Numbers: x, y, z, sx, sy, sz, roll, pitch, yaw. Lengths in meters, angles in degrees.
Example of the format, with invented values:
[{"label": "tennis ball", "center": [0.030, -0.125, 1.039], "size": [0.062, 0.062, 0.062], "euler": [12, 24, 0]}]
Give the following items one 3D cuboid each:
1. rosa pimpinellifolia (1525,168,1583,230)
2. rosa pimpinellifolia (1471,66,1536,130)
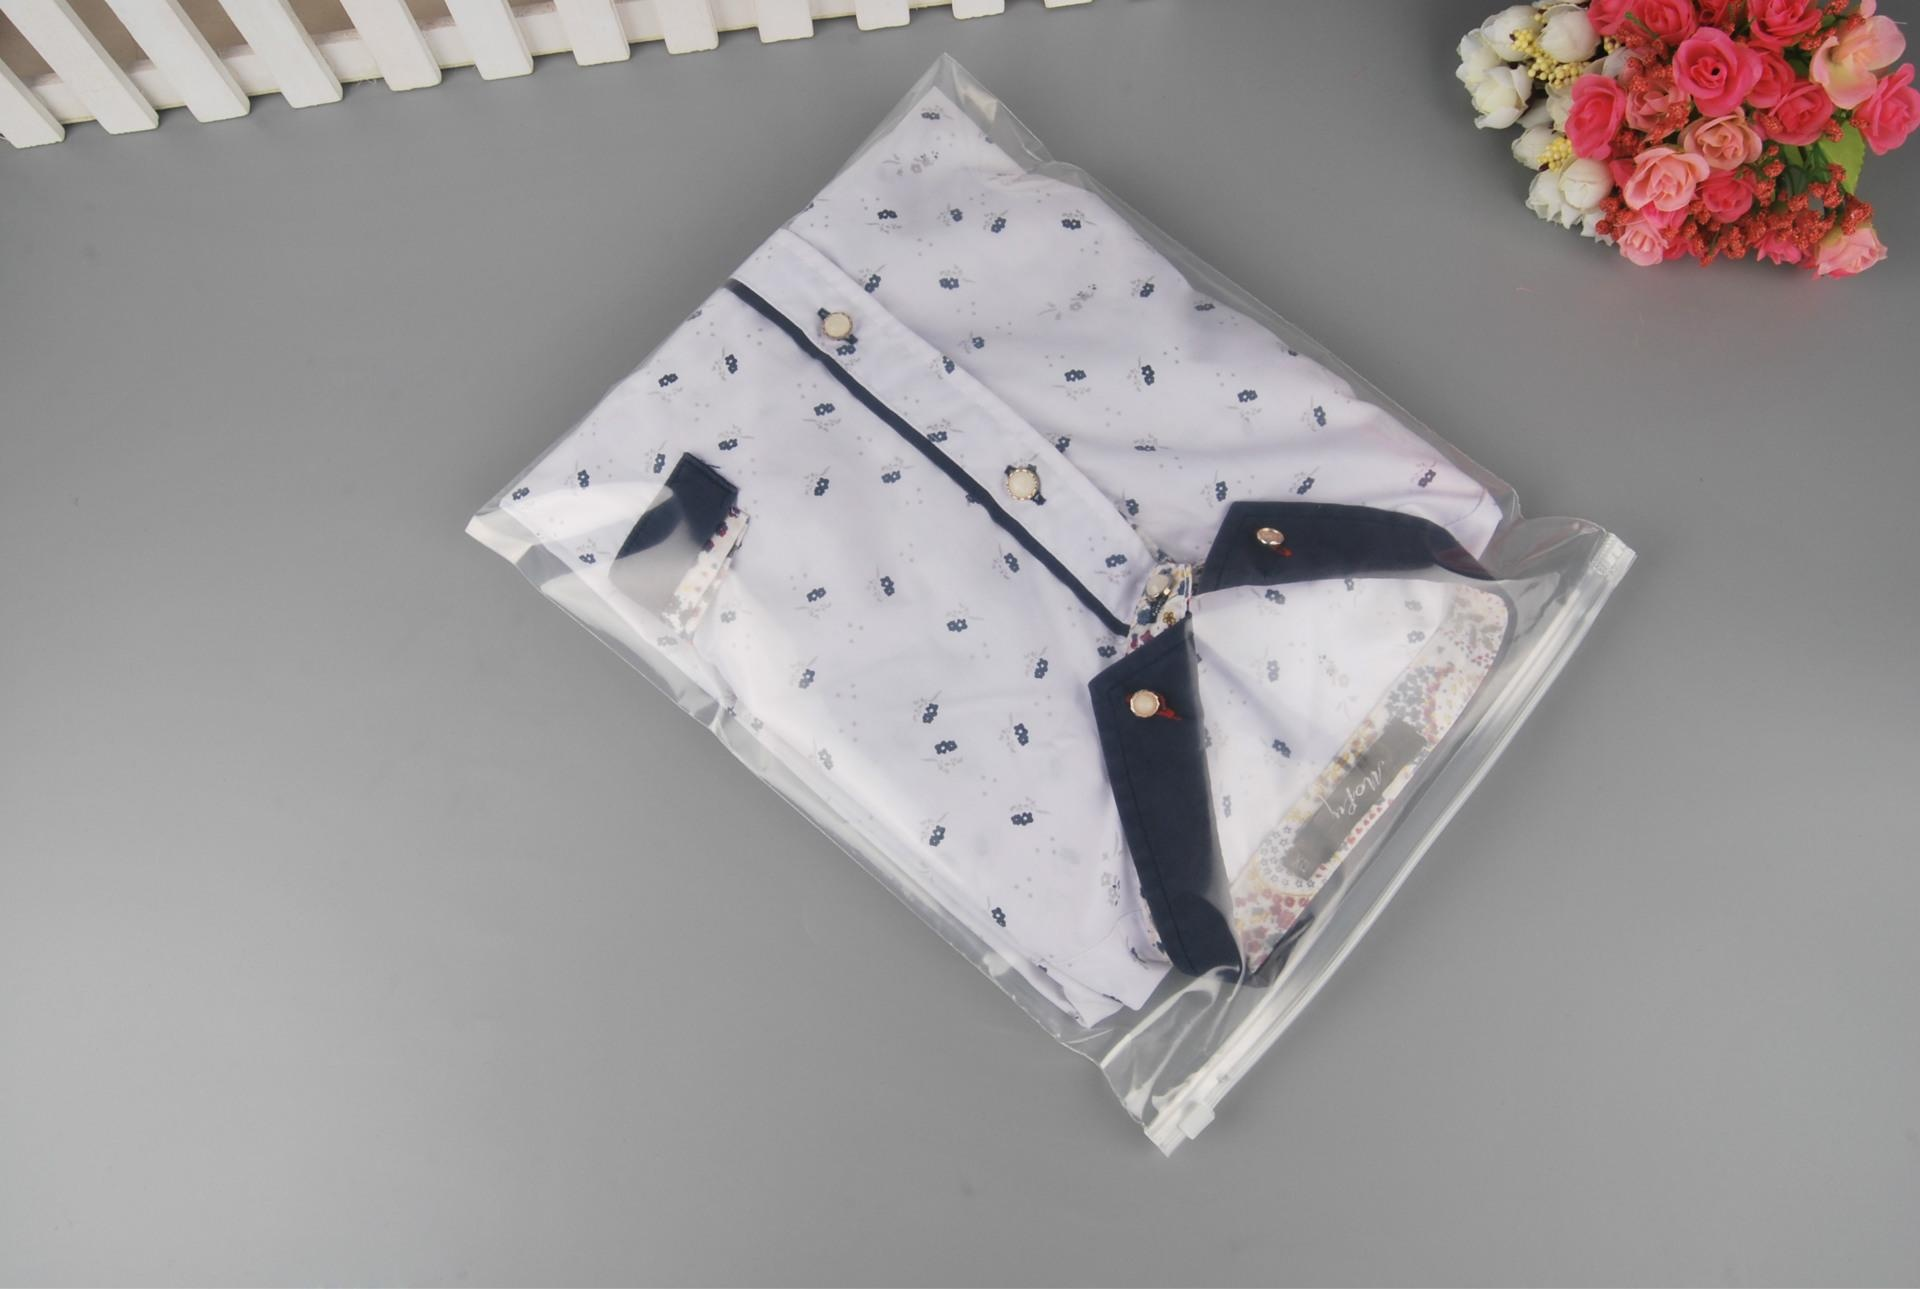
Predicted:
[{"label": "rosa pimpinellifolia", "center": [0.979, -0.741, 3.843], "size": [0.082, 0.096, 0.036], "euler": [-1, 15, 45]}, {"label": "rosa pimpinellifolia", "center": [0.897, -0.905, 3.854], "size": [0.059, 0.104, 0.079], "euler": [0, -17, 27]}]
